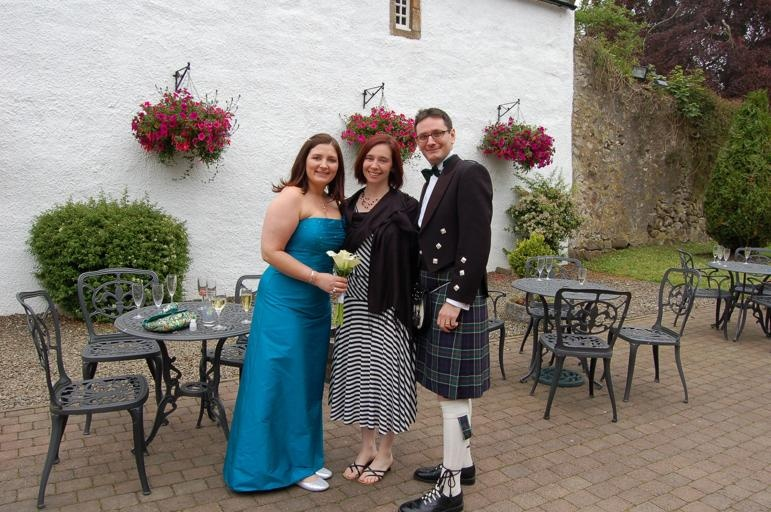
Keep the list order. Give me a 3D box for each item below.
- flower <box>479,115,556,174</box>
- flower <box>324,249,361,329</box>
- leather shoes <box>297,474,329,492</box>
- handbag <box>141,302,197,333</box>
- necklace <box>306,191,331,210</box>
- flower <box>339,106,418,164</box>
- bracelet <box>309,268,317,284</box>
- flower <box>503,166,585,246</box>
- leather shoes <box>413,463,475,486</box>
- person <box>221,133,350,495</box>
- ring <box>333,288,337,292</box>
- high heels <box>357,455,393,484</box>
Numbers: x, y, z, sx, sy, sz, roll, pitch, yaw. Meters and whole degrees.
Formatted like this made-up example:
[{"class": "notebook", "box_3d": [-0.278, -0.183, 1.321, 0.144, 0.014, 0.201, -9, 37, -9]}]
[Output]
[{"class": "flower", "box_3d": [2.849, -2.007, 11.903, 0.580, 0.845, 0.832, 38, 40, 18]}, {"class": "flower", "box_3d": [-0.410, 0.320, 5.671, 0.330, 0.779, 0.232, 8, 16, 22]}, {"class": "leather shoes", "box_3d": [-0.662, 2.080, 5.626, 0.226, 0.077, 0.126, -1, 14, 14]}, {"class": "handbag", "box_3d": [-2.051, 0.589, 5.866, 0.256, 0.123, 0.323, -12, 3, 1]}, {"class": "necklace", "box_3d": [-0.623, -0.500, 5.653, 0.051, 0.162, 0.171, -15, -6, 41]}, {"class": "flower", "box_3d": [0.004, -2.077, 10.630, 1.178, 0.826, 1.129, -2, -9, 20]}, {"class": "bracelet", "box_3d": [-0.662, 0.197, 5.538, 0.059, 0.122, 0.053, 4, 15, 11]}, {"class": "flower", "box_3d": [3.078, -1.000, 12.304, 1.529, 1.450, 1.078, 19, -6, -11]}, {"class": "leather shoes", "box_3d": [0.502, 2.008, 5.810, 0.620, 0.247, 0.220, 4, -2, 2]}, {"class": "person", "box_3d": [-0.868, 0.519, 5.598, 0.932, 3.151, 1.247, 6, 16, 16]}, {"class": "ring", "box_3d": [-0.467, 0.309, 5.518, 0.035, 0.029, 0.032, 3, -4, 0]}, {"class": "high heels", "box_3d": [-0.122, 2.006, 5.730, 0.164, 0.116, 0.321, -2, -5, 36]}]
